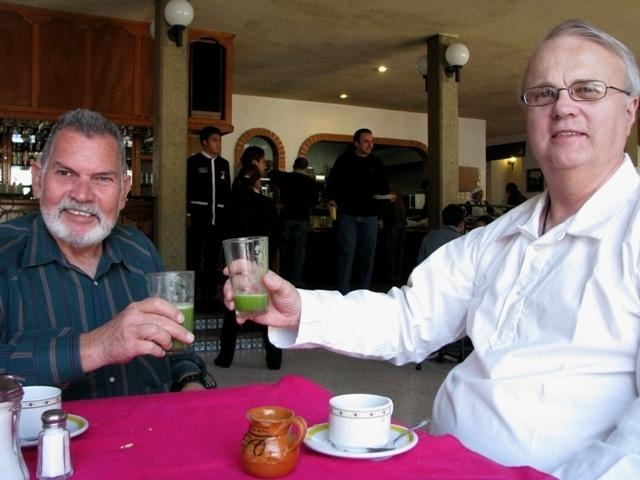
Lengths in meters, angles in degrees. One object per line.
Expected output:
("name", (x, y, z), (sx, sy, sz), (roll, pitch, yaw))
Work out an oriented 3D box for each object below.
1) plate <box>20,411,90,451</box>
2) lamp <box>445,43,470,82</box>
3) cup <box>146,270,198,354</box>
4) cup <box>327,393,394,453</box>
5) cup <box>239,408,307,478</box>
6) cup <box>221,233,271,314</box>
("plate", (-0.579, 0.403, 1.143), (0.181, 0.021, 0.182), (9, -2, -19))
("lamp", (1.627, -2.082, 6.274), (0.271, 0.453, 0.296), (-2, 8, -21))
("cup", (-0.397, 0.197, 1.390), (0.127, 0.207, 0.129), (-10, -6, -1))
("cup", (0.089, 0.387, 1.129), (0.119, 0.066, 0.092), (5, -10, -22))
("cup", (-0.091, 0.392, 1.060), (0.127, 0.108, 0.107), (-4, -13, 13))
("cup", (-0.181, 0.091, 1.393), (0.149, 0.211, 0.118), (-2, 9, -28))
